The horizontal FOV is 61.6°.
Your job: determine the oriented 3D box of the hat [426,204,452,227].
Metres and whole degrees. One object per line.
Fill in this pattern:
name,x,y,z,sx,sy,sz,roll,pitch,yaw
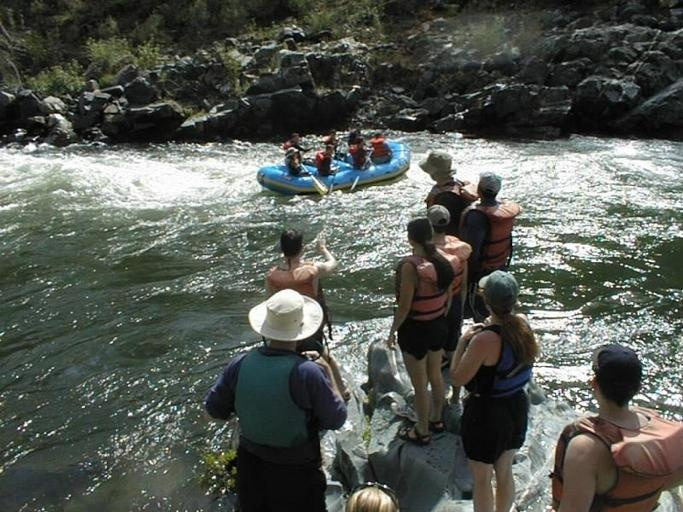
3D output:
hat,1.111,-0.468,6.574,0.212,0.152,0.260,-3,42,0

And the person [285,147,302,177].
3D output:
person,-1.307,-2.537,15.302,0.428,0.586,0.839,-3,23,-4

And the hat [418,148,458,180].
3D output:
hat,1.221,-1.197,7.549,0.440,0.220,0.425,27,41,19

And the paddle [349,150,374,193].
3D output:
paddle,0.498,-2.305,15.602,0.496,1.290,0.345,27,-8,-4

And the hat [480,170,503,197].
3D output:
hat,1.836,-0.932,7.137,0.228,0.160,0.316,7,31,9

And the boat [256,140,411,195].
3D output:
boat,-0.087,-2.182,15.446,3.558,0.554,1.615,-11,25,-13

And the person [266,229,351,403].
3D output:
person,-0.546,0.799,7.104,1.153,2.158,0.988,-5,6,-8

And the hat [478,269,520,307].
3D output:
hat,1.535,0.286,5.743,0.482,0.229,0.324,6,30,28

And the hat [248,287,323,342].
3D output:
hat,-0.538,0.552,5.538,0.577,0.202,0.589,12,32,19

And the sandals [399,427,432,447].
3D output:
sandals,0.836,2.023,6.485,0.357,0.137,0.171,13,17,42

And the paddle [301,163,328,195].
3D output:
paddle,-0.732,-2.028,15.174,0.226,0.152,1.274,-39,69,-22
